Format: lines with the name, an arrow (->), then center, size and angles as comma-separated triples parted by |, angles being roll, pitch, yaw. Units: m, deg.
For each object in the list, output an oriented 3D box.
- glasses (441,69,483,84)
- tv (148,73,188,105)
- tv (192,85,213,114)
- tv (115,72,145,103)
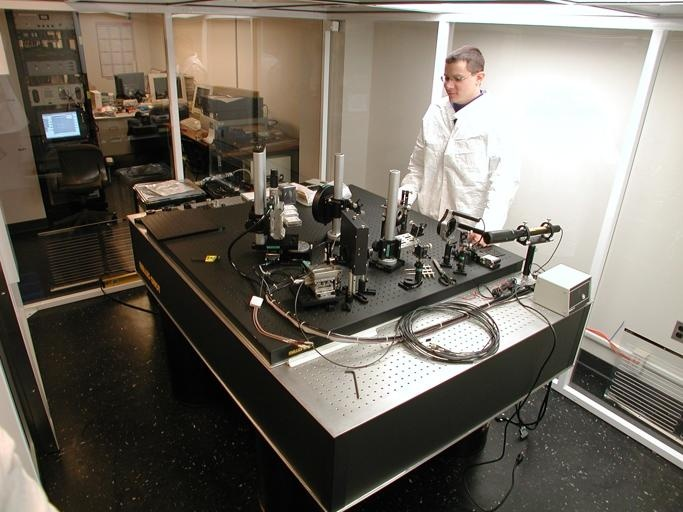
glasses -> 0.742, -1.077, 3.022 | 0.123, 0.039, 0.121 | -4, 10, -33
tv -> -1.249, -1.205, 3.650 | 0.309, 0.290, 0.169 | -9, 33, -30
tv -> -1.059, -1.192, 3.772 | 0.138, 0.201, 0.105 | -21, 49, -40
tv -> -1.484, -1.181, 3.475 | 0.177, 0.188, 0.094 | -6, 16, -34
